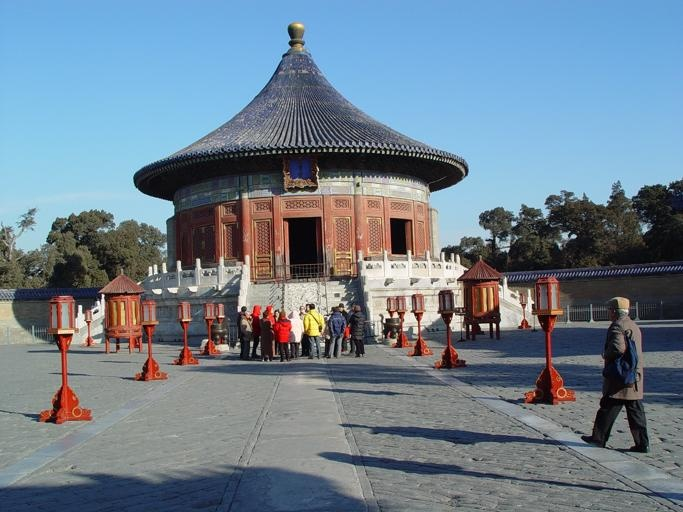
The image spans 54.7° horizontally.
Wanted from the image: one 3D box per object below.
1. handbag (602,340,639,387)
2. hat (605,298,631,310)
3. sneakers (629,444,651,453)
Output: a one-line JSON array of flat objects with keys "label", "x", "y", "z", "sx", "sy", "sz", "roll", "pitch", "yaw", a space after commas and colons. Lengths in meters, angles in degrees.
[{"label": "handbag", "x": 3.416, "y": 1.291, "z": 8.024, "sx": 0.607, "sy": 0.571, "sz": 0.367, "roll": -3, "pitch": -21, "yaw": 29}, {"label": "hat", "x": 3.504, "y": 0.592, "z": 8.481, "sx": 0.248, "sy": 0.122, "sz": 0.309, "roll": -2, "pitch": 7, "yaw": -32}, {"label": "sneakers", "x": 3.580, "y": 2.285, "z": 7.924, "sx": 0.216, "sy": 0.072, "sz": 0.081, "roll": 0, "pitch": -2, "yaw": 24}]
